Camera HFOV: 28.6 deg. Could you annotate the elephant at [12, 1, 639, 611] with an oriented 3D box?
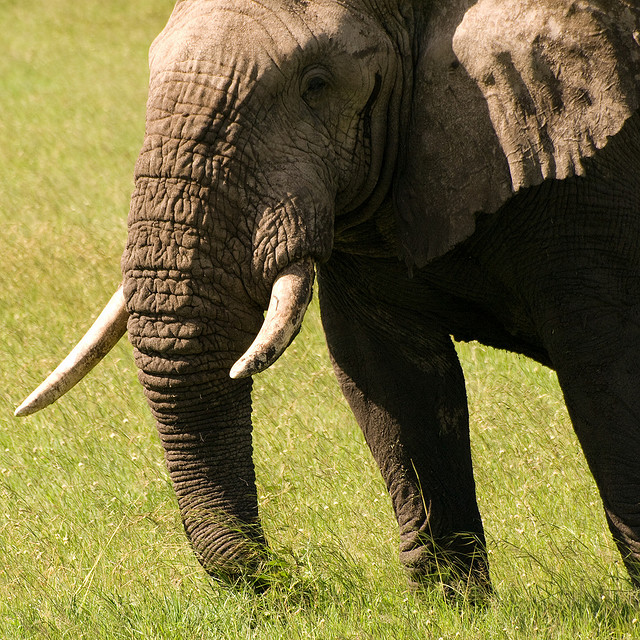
[{"bbox_3d":[0.266,-0.031,4.015,2.102,1.660,1.516,1,0,-39],"label":"elephant"}]
